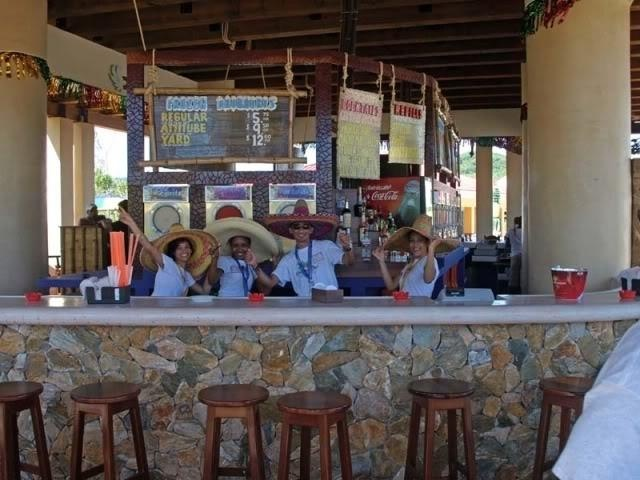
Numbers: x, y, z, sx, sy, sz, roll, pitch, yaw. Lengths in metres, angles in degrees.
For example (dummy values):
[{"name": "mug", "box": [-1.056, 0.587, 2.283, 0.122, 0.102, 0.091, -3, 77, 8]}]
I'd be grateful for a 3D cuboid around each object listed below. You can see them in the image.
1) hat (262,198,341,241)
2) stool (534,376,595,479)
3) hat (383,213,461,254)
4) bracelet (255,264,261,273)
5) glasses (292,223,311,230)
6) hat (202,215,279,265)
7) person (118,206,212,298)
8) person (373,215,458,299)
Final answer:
[{"name": "hat", "box": [-0.156, -0.216, 5.661, 0.417, 0.202, 0.503, 1, -28, 3]}, {"name": "stool", "box": [1.433, 1.144, 3.473, 0.299, 0.701, 0.487, 2, 4, 26]}, {"name": "hat", "box": [0.818, -0.028, 5.192, 0.393, 0.211, 0.473, 24, -31, -32]}, {"name": "bracelet", "box": [-0.549, 0.245, 5.168, 0.054, 0.083, 0.079, 0, -8, -1]}, {"name": "glasses", "box": [-0.172, -0.128, 5.393, 0.177, 0.065, 0.076, 0, 4, -4]}, {"name": "hat", "box": [-0.691, -0.026, 5.324, 0.424, 0.117, 0.456, 9, -35, 5]}, {"name": "person", "box": [-1.255, 0.153, 4.905, 0.304, 0.791, 1.138, 1, 4, 14]}, {"name": "person", "box": [0.771, 0.148, 5.059, 0.571, 0.725, 0.874, -1, 4, -17]}]
